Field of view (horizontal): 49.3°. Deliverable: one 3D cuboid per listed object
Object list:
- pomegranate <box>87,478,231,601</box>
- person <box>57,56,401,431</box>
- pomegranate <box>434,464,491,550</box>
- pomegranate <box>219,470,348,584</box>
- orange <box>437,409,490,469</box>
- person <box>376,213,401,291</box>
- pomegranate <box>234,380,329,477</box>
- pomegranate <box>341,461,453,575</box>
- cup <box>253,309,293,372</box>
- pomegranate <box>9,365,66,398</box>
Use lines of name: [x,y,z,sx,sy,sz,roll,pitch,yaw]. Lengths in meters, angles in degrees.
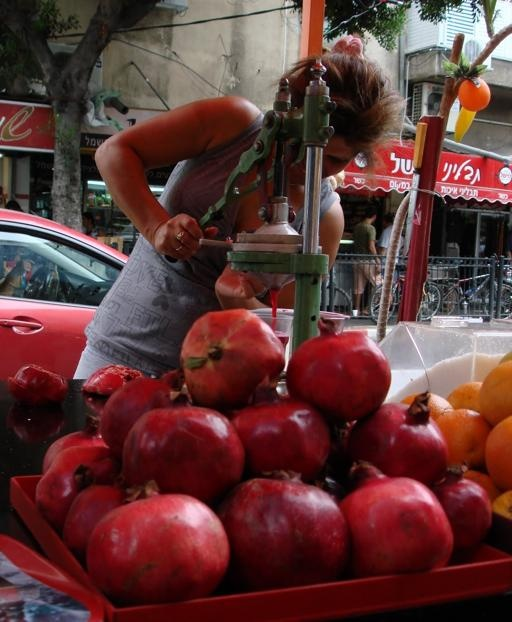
pomegranate: [-0.084,0.200,0.479,0.120,0.108,0.115,-3,-25,-9]
person: [-0.082,-0.250,1.536,0.679,1.028,0.595,0,8,-35]
pomegranate: [0.208,0.212,0.608,0.072,0.082,0.068,8,-4,-30]
pomegranate: [0.024,0.193,0.528,0.103,0.090,0.092,5,-11,-12]
orange: [0.274,0.194,0.838,0.094,0.100,0.090,0,-22,4]
person: [2.326,-1.397,9.708,0.276,1.015,0.346,25,9,36]
pomegranate: [0.027,0.135,0.606,0.107,0.108,0.100,-6,-8,5]
pomegranate: [0.127,0.188,0.574,0.138,0.082,0.092,-1,7,-29]
cup: [0.041,0.045,1.086,0.112,0.154,0.111,0,-1,0]
pomegranate: [-0.549,0.179,1.412,0.139,0.078,0.107,3,9,-5]
